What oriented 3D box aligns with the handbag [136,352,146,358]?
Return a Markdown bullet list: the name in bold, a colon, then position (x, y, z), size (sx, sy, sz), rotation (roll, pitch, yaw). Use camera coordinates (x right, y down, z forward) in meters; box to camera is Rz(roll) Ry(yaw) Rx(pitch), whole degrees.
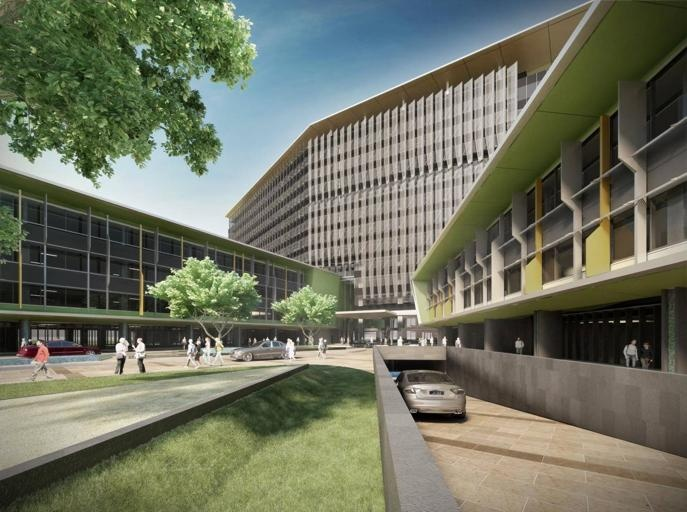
- **handbag**: position (-11.651, 5.608, 24.919), size (0.443, 0.315, 0.454), rotation (1, -4, -29)
